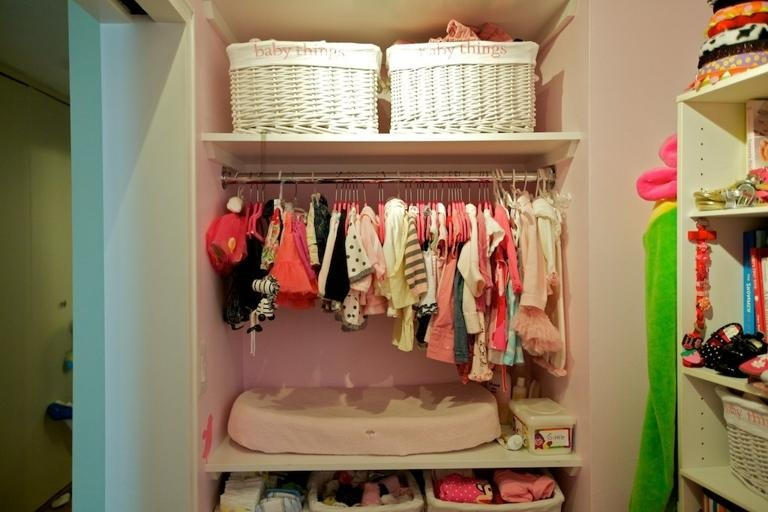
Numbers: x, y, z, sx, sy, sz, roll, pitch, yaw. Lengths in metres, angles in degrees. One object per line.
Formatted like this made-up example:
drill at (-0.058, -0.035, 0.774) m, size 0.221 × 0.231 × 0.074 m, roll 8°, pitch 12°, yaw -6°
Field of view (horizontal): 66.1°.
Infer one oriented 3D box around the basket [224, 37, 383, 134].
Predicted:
basket at (-0.397, -0.805, 2.954) m, size 0.449 × 0.448 × 0.783 m, roll 15°, pitch 20°, yaw 42°

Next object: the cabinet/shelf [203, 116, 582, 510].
cabinet/shelf at (0.058, 0.270, 2.847) m, size 1.766 × 1.737 × 0.664 m, roll 0°, pitch -4°, yaw -3°

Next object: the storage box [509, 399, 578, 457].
storage box at (0.760, 0.808, 2.816) m, size 0.165 × 0.131 × 0.254 m, roll 0°, pitch 0°, yaw -2°

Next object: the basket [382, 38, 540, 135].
basket at (0.456, -0.785, 2.984) m, size 0.823 × 0.438 × 0.515 m, roll 8°, pitch 8°, yaw 32°
